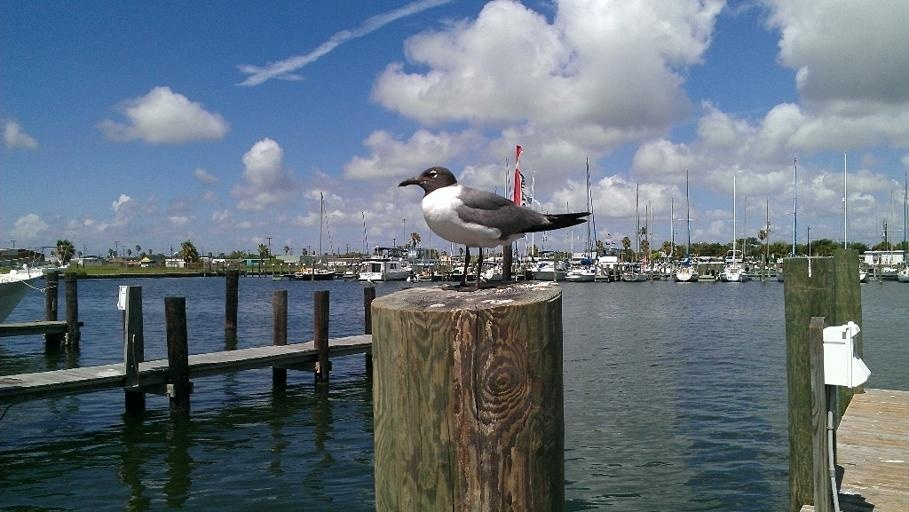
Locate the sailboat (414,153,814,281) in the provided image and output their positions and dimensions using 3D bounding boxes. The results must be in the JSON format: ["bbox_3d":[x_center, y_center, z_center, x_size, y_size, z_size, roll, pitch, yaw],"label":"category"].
[{"bbox_3d":[2.259,-1.090,17.140,5.817,2.926,1.639,1,-8,-16],"label":"sailboat"}]

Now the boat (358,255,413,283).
[{"bbox_3d":[-8.343,1.755,101.667,3.058,2.205,8.209,2,5,19],"label":"boat"}]

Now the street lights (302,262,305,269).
[{"bbox_3d":[-29.056,1.709,154.333,0.468,0.217,0.637,6,-20,-29],"label":"street lights"}]
